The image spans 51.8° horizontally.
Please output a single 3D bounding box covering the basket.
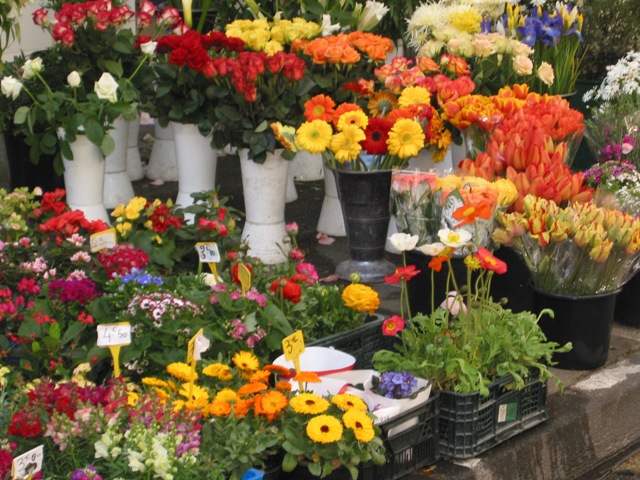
[{"bbox_3d":[0.256,0.451,2.526,0.451,0.251,0.707,12,23,34],"label":"basket"}]
